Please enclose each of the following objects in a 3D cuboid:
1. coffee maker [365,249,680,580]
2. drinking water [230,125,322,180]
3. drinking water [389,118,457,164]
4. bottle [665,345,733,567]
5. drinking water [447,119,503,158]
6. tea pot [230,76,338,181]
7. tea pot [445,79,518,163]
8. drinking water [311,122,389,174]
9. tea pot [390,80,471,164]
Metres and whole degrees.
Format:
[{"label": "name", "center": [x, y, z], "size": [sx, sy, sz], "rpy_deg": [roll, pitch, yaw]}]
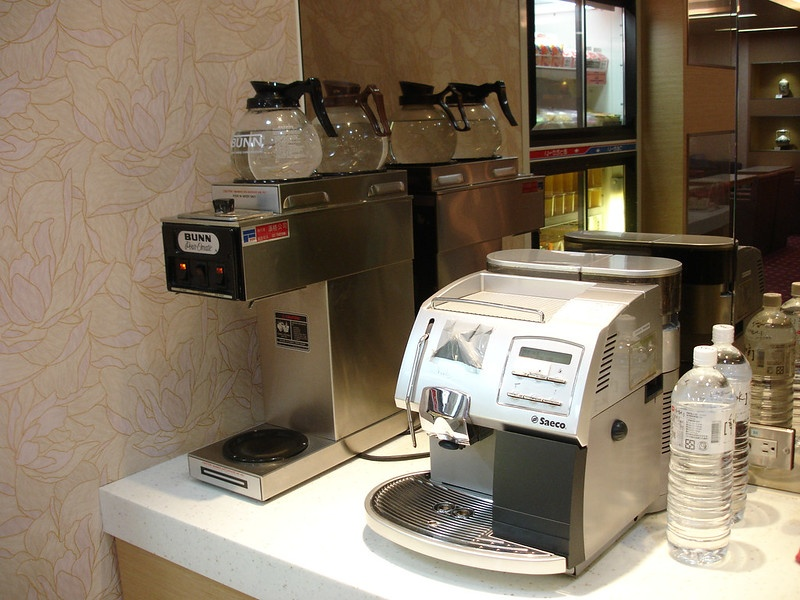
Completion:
[{"label": "coffee maker", "center": [0.282, 0.192, 1.300], "size": [0.633, 0.500, 0.469], "rpy_deg": [-11, 13, -37]}, {"label": "drinking water", "center": [-0.276, -0.318, 1.408], "size": [0.121, 0.146, 0.157], "rpy_deg": [8, 12, 43]}, {"label": "drinking water", "center": [0.059, -0.440, 1.737], "size": [0.138, 0.128, 0.139], "rpy_deg": [5, 12, 27]}, {"label": "bottle", "center": [0.554, 0.265, 1.146], "size": [0.121, 0.387, 0.182], "rpy_deg": [4, 17, 29]}, {"label": "drinking water", "center": [0.240, -0.481, 1.879], "size": [0.121, 0.117, 0.123], "rpy_deg": [0, 3, 3]}, {"label": "tea pot", "center": [-0.272, -0.390, 1.465], "size": [0.233, 0.236, 0.190], "rpy_deg": [-6, 7, -7]}, {"label": "tea pot", "center": [0.237, -0.550, 1.888], "size": [0.217, 0.212, 0.154], "rpy_deg": [-5, 6, 19]}, {"label": "drinking water", "center": [-0.115, -0.368, 1.580], "size": [0.134, 0.086, 0.155], "rpy_deg": [-6, 8, -34]}, {"label": "tea pot", "center": [0.082, -0.508, 1.785], "size": [0.250, 0.244, 0.193], "rpy_deg": [11, 29, 31]}]
